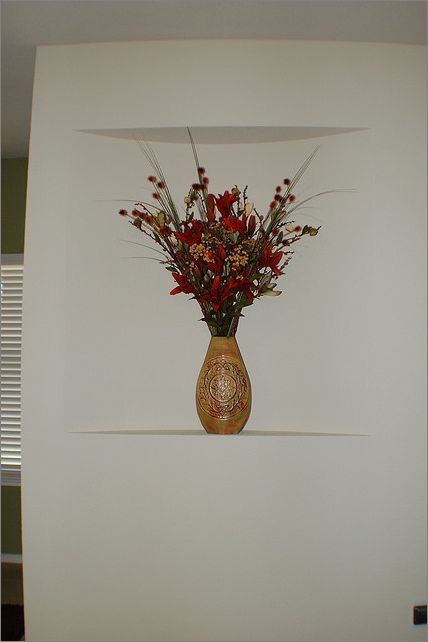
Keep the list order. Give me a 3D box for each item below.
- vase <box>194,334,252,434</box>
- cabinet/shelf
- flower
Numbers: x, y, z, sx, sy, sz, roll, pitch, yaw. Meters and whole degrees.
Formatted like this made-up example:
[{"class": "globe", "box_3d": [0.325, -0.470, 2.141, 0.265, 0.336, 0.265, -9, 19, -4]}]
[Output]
[{"class": "vase", "box_3d": [0.028, 0.195, 1.812, 0.162, 0.295, 0.104, 0, -12, 0]}, {"class": "cabinet/shelf", "box_3d": [0.021, -0.109, 1.933, 0.991, 0.936, 0.326, 0, 3, 1]}, {"class": "flower", "box_3d": [0.022, -0.231, 2.082, 0.647, 0.730, 0.688, 0, -3, 3]}]
